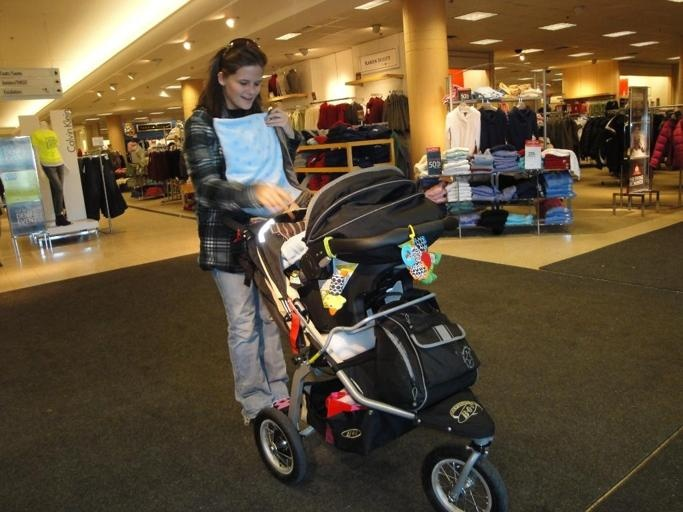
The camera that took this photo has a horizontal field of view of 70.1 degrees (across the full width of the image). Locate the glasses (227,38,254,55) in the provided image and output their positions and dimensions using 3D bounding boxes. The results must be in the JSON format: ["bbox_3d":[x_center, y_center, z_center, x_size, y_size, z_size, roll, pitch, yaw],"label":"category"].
[{"bbox_3d":[-0.473,-0.994,2.277,0.112,0.043,0.095,5,9,34],"label":"glasses"}]

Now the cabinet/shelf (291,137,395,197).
[{"bbox_3d":[0.193,-1.158,7.932,1.696,0.986,0.945,-9,-13,8],"label":"cabinet/shelf"}]

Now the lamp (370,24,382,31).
[{"bbox_3d":[0.643,-4.193,8.888,0.143,0.134,0.104,-4,6,3],"label":"lamp"}]

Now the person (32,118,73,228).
[{"bbox_3d":[-5.183,-1.482,8.815,0.411,1.870,0.407,-12,15,-25],"label":"person"}]

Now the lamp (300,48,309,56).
[{"bbox_3d":[-0.802,-4.479,10.617,0.186,0.123,0.181,-3,18,0],"label":"lamp"}]

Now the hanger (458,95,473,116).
[{"bbox_3d":[1.727,-2.127,6.884,0.163,0.256,0.529,-2,14,15],"label":"hanger"}]
